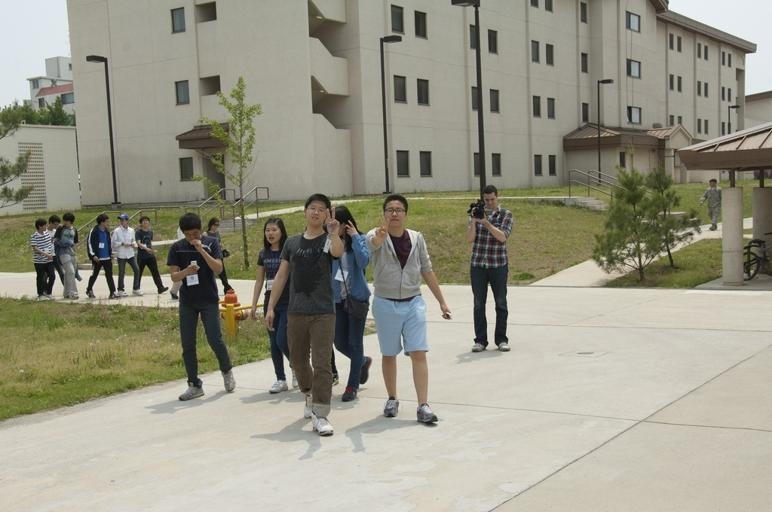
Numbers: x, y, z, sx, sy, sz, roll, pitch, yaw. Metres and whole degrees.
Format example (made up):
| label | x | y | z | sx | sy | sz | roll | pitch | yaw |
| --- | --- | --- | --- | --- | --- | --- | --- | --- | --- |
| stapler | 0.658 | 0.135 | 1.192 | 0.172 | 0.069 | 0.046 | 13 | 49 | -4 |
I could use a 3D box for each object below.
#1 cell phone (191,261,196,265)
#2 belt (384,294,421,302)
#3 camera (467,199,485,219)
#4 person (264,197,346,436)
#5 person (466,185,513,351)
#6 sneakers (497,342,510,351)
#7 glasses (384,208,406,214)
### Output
| label | x | y | z | sx | sy | sz | roll | pitch | yaw |
| --- | --- | --- | --- | --- | --- | --- | --- | --- | --- |
| cell phone | -2.999 | 0.112 | 13.160 | 0.061 | 0.064 | 0.078 | 15 | 7 | -24 |
| belt | 0.267 | 0.629 | 12.316 | 0.539 | 0.075 | 0.103 | -6 | 12 | -17 |
| camera | 1.600 | -0.805 | 14.648 | 0.246 | 0.200 | 0.373 | 0 | 13 | 0 |
| person | -1.009 | 0.791 | 12.136 | 0.785 | 3.326 | 1.271 | -8 | 13 | -26 |
| person | 1.897 | 0.191 | 15.218 | 0.753 | 2.918 | 1.213 | -1 | 12 | 8 |
| sneakers | 2.127 | 1.616 | 14.994 | 0.241 | 0.130 | 0.229 | -4 | 12 | -8 |
| glasses | 0.142 | -0.665 | 12.295 | 0.292 | 0.091 | 0.075 | -4 | 12 | -7 |
